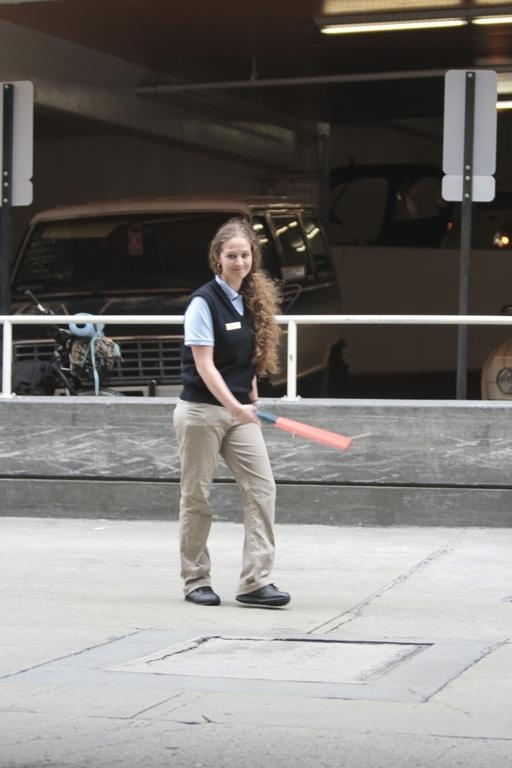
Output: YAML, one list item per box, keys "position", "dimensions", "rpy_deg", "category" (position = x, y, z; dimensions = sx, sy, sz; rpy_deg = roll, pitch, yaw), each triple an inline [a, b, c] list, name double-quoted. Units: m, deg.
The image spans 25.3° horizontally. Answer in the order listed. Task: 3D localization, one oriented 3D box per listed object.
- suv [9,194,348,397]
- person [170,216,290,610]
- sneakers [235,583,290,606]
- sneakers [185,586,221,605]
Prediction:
- position: [-0.948, -0.821, 10.429]
  dimensions: [2.740, 1.230, 1.868]
  rpy_deg: [0, 7, 16]
  category: "suv"
- position: [-0.118, 0.118, 5.334]
  dimensions: [0.531, 1.827, 0.610]
  rpy_deg: [0, 3, -7]
  category: "person"
- position: [0.036, 0.976, 5.257]
  dimensions: [0.279, 0.114, 0.094]
  rpy_deg: [-2, -18, 16]
  category: "sneakers"
- position: [-0.254, 0.995, 5.299]
  dimensions: [0.070, 0.061, 0.173]
  rpy_deg: [7, -10, -39]
  category: "sneakers"
